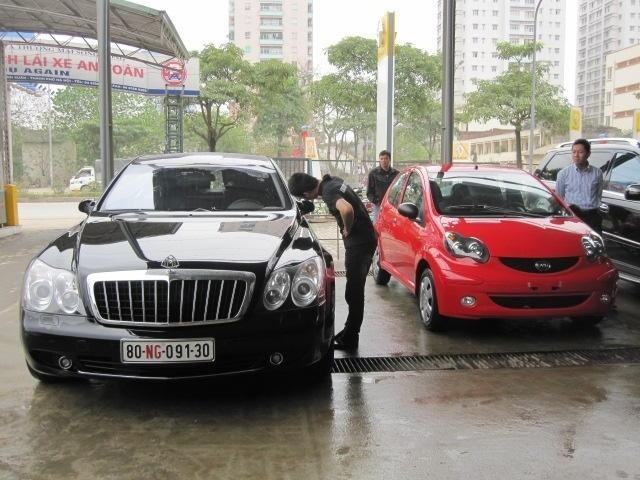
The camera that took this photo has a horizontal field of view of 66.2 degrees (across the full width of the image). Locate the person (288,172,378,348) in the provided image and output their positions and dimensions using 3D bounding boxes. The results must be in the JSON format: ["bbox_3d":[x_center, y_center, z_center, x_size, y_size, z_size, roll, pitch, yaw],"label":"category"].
[{"bbox_3d":[0.169,0.221,4.859,0.772,1.755,0.481,1,7,6],"label":"person"}]

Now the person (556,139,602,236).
[{"bbox_3d":[3.707,-0.780,6.997,0.595,1.316,0.292,3,7,25],"label":"person"}]
